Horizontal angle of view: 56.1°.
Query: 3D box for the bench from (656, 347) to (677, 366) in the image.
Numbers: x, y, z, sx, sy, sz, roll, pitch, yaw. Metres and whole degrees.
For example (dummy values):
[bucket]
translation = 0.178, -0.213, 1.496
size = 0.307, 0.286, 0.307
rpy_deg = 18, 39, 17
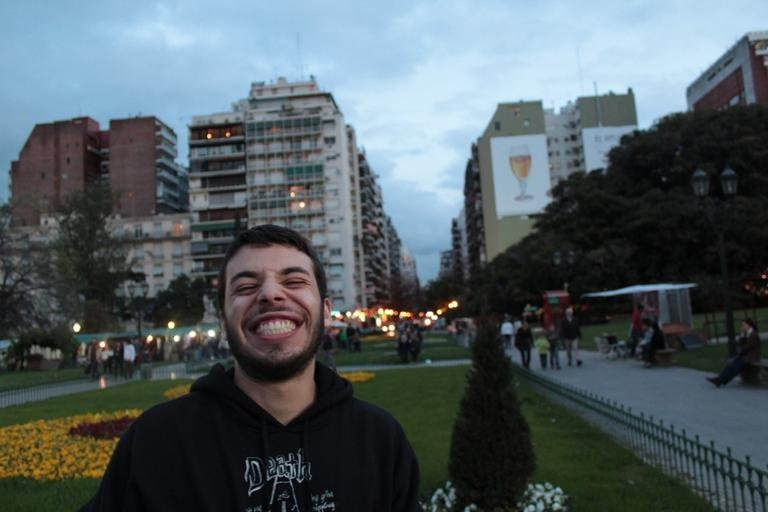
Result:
[bench]
translation = 11.862, 4.209, 30.399
size = 0.708, 0.553, 0.730
rpy_deg = -2, -12, -12
